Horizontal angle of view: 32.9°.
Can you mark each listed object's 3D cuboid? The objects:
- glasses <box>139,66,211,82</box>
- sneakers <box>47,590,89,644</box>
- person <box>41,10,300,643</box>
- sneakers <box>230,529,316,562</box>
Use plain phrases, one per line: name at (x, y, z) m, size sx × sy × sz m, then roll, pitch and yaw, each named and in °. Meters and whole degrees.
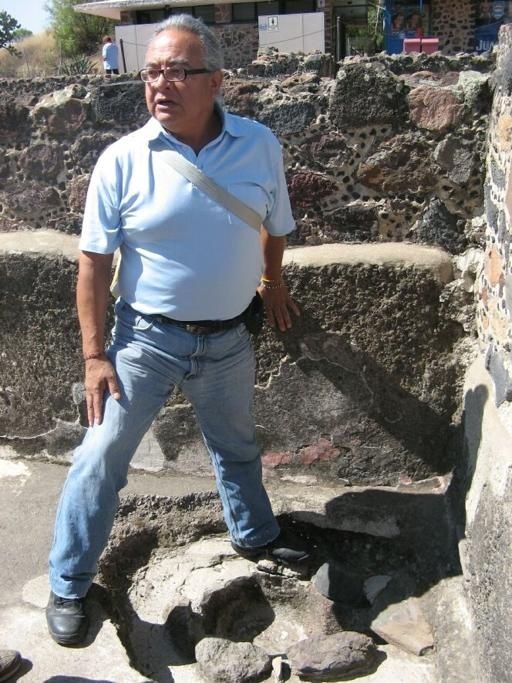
glasses at (-0.204, -0.685, 2.254) m, size 0.166 × 0.039 × 0.060 m, roll -3°, pitch 15°, yaw 1°
sneakers at (-0.477, 0.706, 2.222) m, size 0.067 × 0.066 × 0.167 m, roll 2°, pitch 25°, yaw -15°
person at (-0.267, -0.059, 2.313) m, size 0.310 × 1.543 × 0.955 m, roll 9°, pitch 22°, yaw 37°
sneakers at (0.074, 0.633, 2.653) m, size 0.273 × 0.094 × 0.084 m, roll -5°, pitch 28°, yaw 16°
